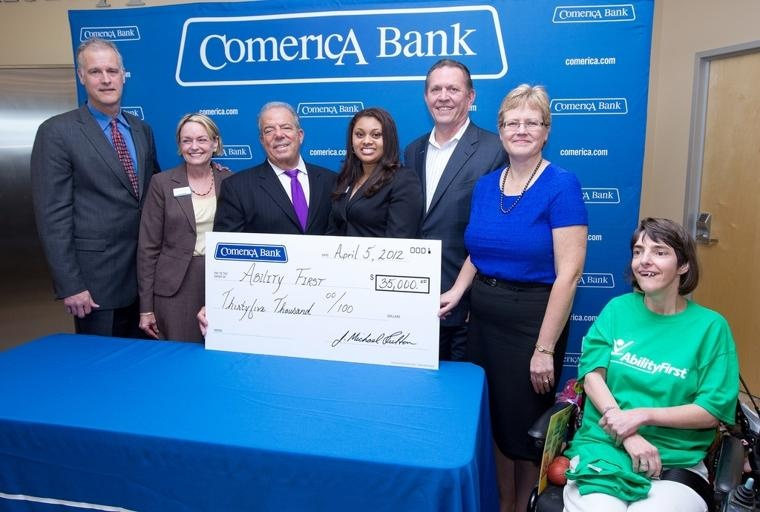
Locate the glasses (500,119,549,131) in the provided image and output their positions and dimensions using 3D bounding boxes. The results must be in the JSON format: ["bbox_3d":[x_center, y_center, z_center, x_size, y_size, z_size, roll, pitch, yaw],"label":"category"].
[{"bbox_3d":[0.773,-0.710,2.981,0.248,0.050,0.063,0,13,9],"label":"glasses"}]

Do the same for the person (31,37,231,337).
[{"bbox_3d":[-1.899,-0.095,3.964,0.726,2.638,0.892,24,26,34],"label":"person"}]

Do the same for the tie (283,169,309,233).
[{"bbox_3d":[-0.513,-0.358,3.468,0.130,0.403,0.026,-10,-15,-13],"label":"tie"}]

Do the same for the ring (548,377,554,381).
[{"bbox_3d":[0.925,0.664,3.007,0.021,0.021,0.021,-2,15,0],"label":"ring"}]

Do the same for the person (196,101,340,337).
[{"bbox_3d":[-0.645,-0.530,3.401,0.804,0.821,0.354,-6,14,-17],"label":"person"}]

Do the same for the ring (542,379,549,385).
[{"bbox_3d":[0.895,0.679,3.009,0.025,0.025,0.006,-4,10,1],"label":"ring"}]

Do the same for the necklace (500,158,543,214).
[{"bbox_3d":[0.783,-0.367,3.066,0.013,0.305,0.225,22,-5,-30],"label":"necklace"}]

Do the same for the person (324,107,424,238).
[{"bbox_3d":[-0.050,-0.512,3.366,0.535,0.758,0.344,8,16,36],"label":"person"}]

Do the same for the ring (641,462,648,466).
[{"bbox_3d":[1.223,0.957,2.559,0.019,0.019,0.005,7,-1,10],"label":"ring"}]
